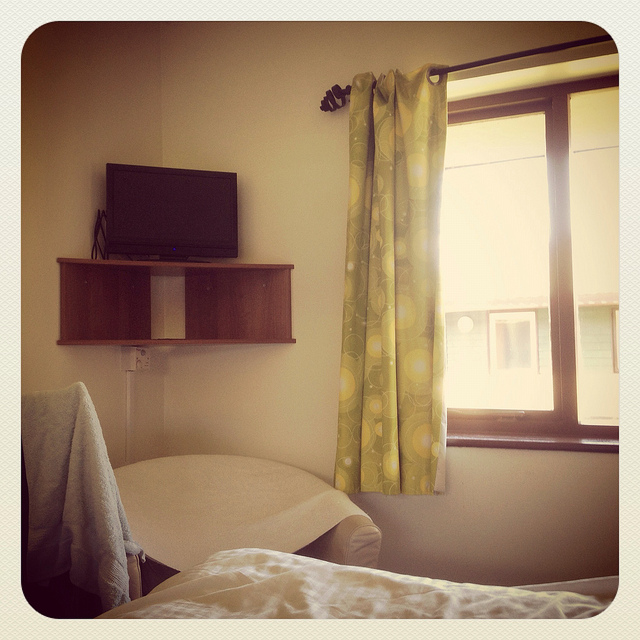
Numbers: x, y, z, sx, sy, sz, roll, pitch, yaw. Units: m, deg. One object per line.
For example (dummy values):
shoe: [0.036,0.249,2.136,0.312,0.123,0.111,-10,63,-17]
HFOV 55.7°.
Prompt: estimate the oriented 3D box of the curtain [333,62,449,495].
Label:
curtain: [0.216,-0.128,1.880,0.338,1.321,0.237,0,4,15]

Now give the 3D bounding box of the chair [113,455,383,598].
chair: [-0.293,0.461,1.824,0.593,0.239,0.438,-3,5,-30]

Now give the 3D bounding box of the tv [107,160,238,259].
tv: [-0.503,-0.363,2.044,0.281,0.247,0.025,3,-7,-18]
